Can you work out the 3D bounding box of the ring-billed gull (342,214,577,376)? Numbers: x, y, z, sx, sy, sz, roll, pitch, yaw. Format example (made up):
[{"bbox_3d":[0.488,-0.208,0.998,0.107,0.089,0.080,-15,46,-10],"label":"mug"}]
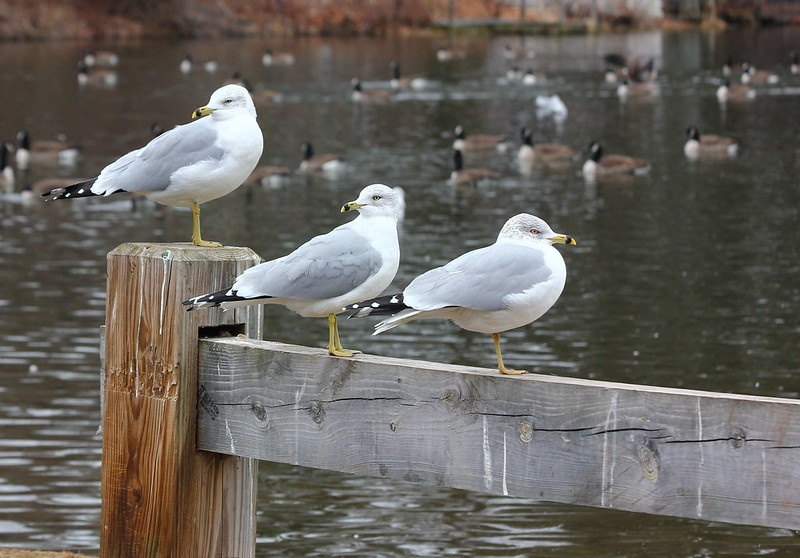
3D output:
[{"bbox_3d":[0.424,0.110,12.703,2.029,1.004,0.688,-2,-3,-29],"label":"ring-billed gull"}]
